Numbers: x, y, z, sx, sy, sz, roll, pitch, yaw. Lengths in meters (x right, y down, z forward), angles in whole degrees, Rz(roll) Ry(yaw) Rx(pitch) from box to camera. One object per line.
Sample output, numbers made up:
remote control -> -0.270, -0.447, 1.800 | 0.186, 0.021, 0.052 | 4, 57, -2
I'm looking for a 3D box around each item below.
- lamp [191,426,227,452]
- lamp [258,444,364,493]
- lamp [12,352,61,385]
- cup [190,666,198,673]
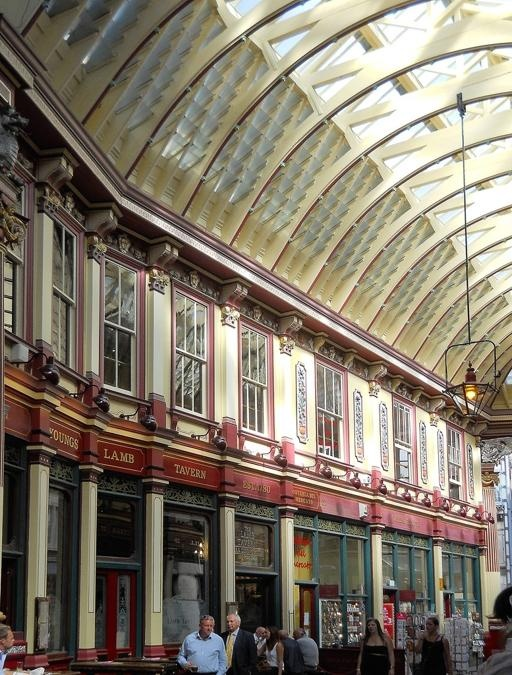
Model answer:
lamp -> -0.750, 1.778, 16.038 | 0.779, 0.506, 0.268 | -5, -20, 12
lamp -> 1.148, 2.882, 19.789 | 0.431, 0.610, 3.282 | -31, -38, 32
lamp -> -2.557, 0.341, 10.738 | 0.440, 0.268, 0.289 | 15, -13, 13
cup -> -0.632, 3.415, 9.291 | 0.083, 0.083, 0.046 | 0, -2, 5
